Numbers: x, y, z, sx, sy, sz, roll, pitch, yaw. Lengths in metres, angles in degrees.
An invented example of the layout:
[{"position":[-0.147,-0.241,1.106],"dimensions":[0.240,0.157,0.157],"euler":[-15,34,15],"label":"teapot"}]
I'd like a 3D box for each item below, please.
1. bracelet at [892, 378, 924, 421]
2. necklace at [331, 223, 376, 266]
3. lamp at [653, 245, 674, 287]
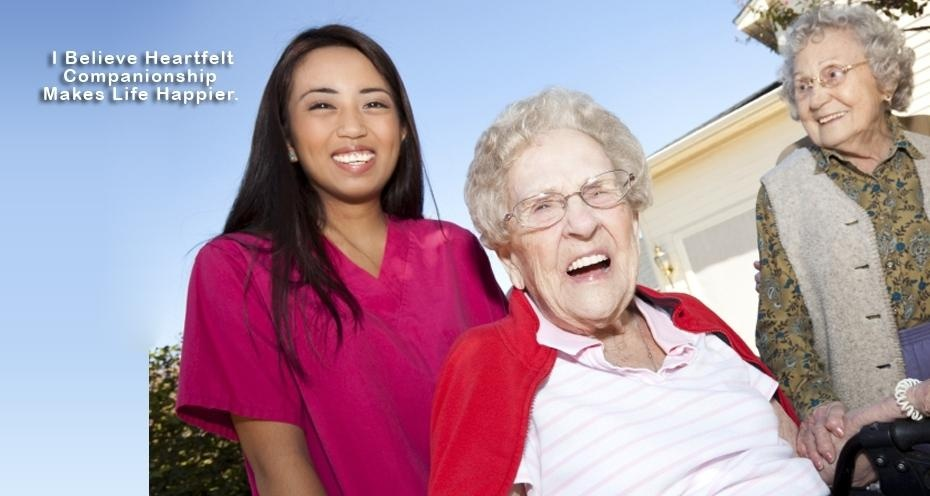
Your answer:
[{"position":[3.364,1.171,5.557],"dimensions":[0.249,0.262,0.092],"euler":[-18,-7,-26],"label":"bracelet"},{"position":[-0.900,-0.011,6.055],"dimensions":[0.090,0.394,0.226],"euler":[-50,3,20],"label":"necklace"},{"position":[3.443,0.204,12.583],"dimensions":[0.260,0.284,0.710],"euler":[-21,-54,19],"label":"lamp"}]
